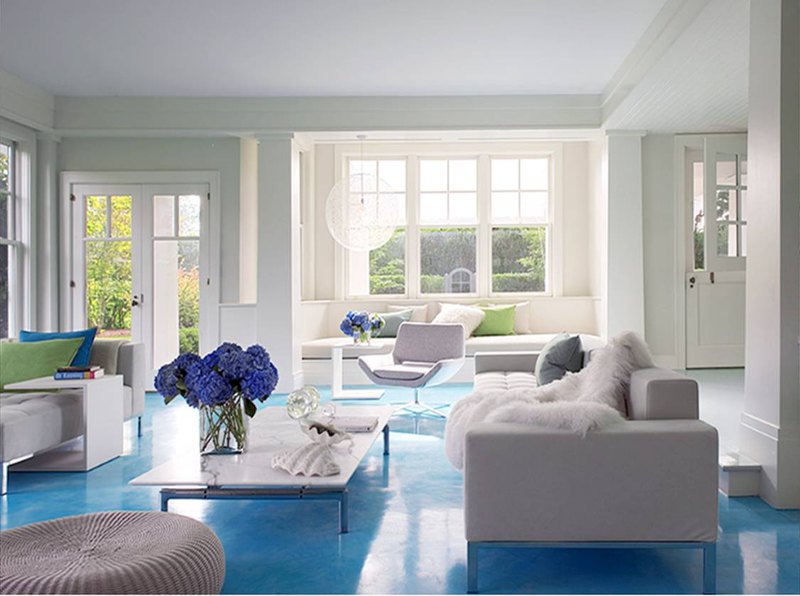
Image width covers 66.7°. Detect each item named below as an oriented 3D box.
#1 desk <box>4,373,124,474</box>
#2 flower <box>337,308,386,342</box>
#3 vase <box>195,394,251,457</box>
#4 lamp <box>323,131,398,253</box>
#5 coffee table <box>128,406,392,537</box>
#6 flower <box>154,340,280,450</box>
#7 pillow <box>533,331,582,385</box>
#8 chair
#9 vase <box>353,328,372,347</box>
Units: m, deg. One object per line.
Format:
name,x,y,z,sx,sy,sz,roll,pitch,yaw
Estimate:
desk,-2.359,0.866,4.371,0.583,0.660,0.532,-2,7,-9
flower,-0.419,0.284,6.433,0.354,0.323,0.370,-1,-6,-24
vase,-1.081,0.659,3.587,0.321,0.469,0.313,0,6,-14
lamp,-0.503,-1.285,7.618,0.851,1.456,1.198,1,7,12
coffee table,-0.745,0.983,3.686,1.133,0.491,1.266,0,7,10
flower,-1.103,0.570,3.637,0.681,0.686,0.715,-8,-3,22
pillow,1.184,0.464,4.517,0.334,0.431,0.618,-1,1,5
chair,0.212,0.568,5.832,1.056,0.968,0.827,-2,-5,33
vase,-0.404,0.401,6.310,0.157,0.149,0.155,1,-5,0
